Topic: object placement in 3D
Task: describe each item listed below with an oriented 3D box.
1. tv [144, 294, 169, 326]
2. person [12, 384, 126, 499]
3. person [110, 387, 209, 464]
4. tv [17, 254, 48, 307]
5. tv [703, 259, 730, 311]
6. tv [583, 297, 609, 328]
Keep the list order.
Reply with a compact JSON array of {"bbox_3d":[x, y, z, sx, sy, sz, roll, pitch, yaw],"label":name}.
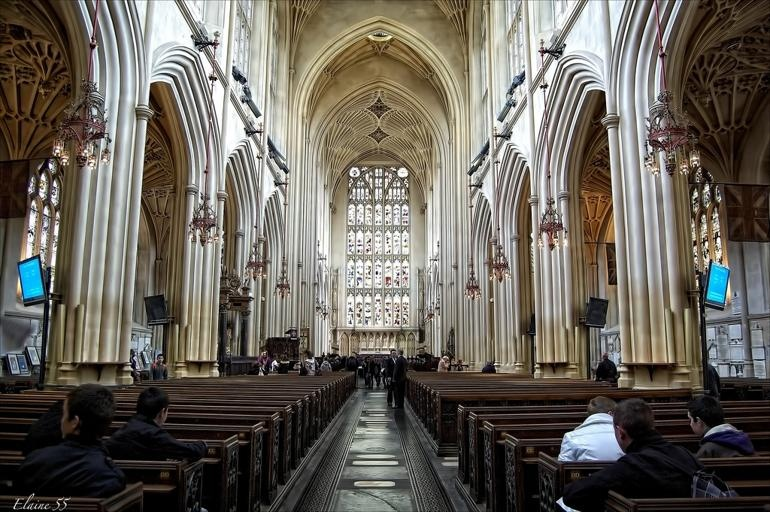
[{"bbox_3d":[-6.260,1.428,16.626,0.600,0.811,1.110,2,-12,-15],"label":"tv"},{"bbox_3d":[-3.037,1.810,5.830,0.999,1.199,0.582,4,-5,-10],"label":"person"},{"bbox_3d":[-2.476,1.786,6.419,1.143,0.808,0.660,-1,-7,26],"label":"person"},{"bbox_3d":[-6.746,0.424,11.652,0.512,0.966,0.569,5,-13,-28],"label":"tv"},{"bbox_3d":[5.649,0.424,10.371,0.377,0.879,1.159,-8,-13,29],"label":"tv"},{"bbox_3d":[5.663,1.492,16.503,0.801,0.774,0.190,2,13,-22],"label":"tv"}]
